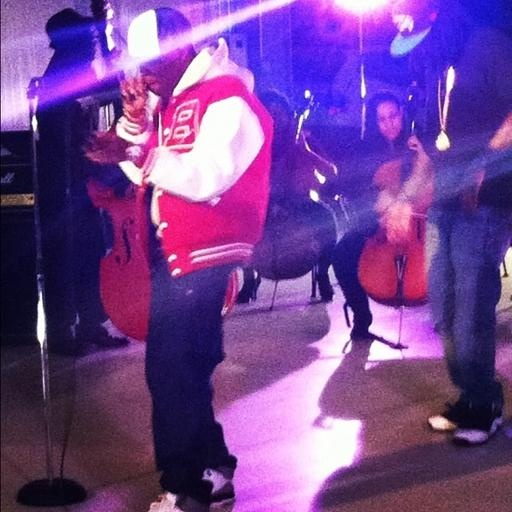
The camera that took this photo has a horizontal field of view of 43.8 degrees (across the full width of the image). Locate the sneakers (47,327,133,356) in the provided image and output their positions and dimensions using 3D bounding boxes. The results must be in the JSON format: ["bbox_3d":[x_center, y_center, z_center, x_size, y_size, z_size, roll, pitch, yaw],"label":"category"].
[{"bbox_3d":[-0.848,0.416,3.125,0.273,0.071,0.165,-2,9,-19],"label":"sneakers"}]

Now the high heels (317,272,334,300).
[{"bbox_3d":[0.337,0.141,3.123,0.090,0.170,0.062,-5,25,14],"label":"high heels"}]
